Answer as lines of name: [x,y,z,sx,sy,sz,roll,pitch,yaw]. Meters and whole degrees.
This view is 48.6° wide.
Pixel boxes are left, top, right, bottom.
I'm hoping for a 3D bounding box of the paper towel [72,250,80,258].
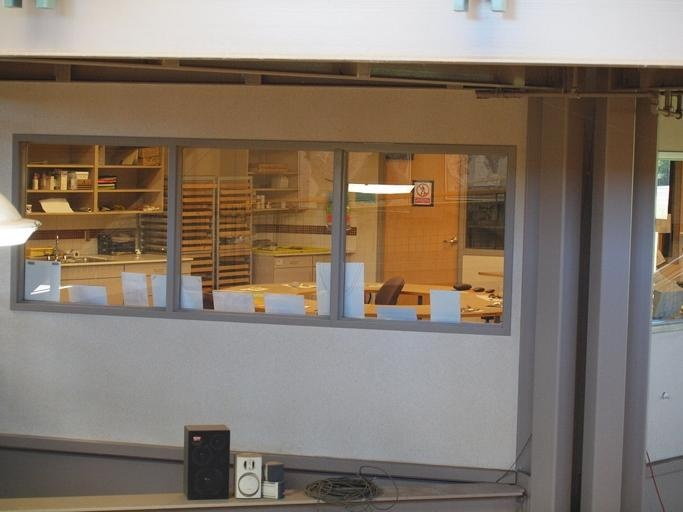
paper towel: [-2.438,-0.024,6.964,0.057,0.083,0.058,1,-1,-9]
